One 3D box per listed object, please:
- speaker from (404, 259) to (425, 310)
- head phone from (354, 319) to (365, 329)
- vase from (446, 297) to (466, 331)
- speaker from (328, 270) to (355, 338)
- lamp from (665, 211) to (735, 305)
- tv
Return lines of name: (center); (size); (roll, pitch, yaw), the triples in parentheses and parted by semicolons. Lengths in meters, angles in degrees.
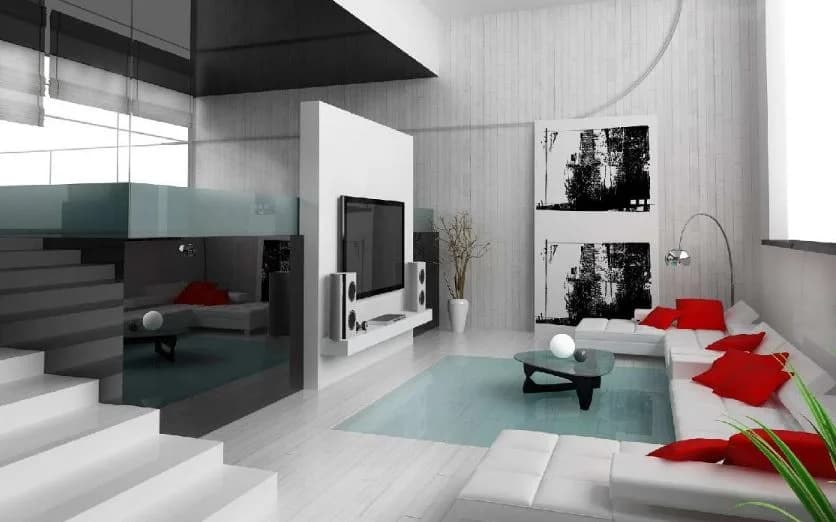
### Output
speaker: (-0.076, 0.363, 7.423); (0.309, 0.745, 0.273); (-1, 8, -12)
head phone: (-0.751, 0.788, 6.099); (0.101, 0.064, 0.134); (0, 4, 16)
vase: (0.683, 0.959, 8.857); (0.401, 0.594, 0.405); (-1, 0, -13)
speaker: (-0.935, 0.512, 5.698); (0.313, 0.771, 0.279); (-1, 8, -14)
lamp: (4.357, -0.002, 7.350); (0.912, 1.465, 1.675); (6, 10, 33)
tv: (-0.695, -0.215, 6.469); (0.145, 1.118, 1.515); (0, -1, 22)
